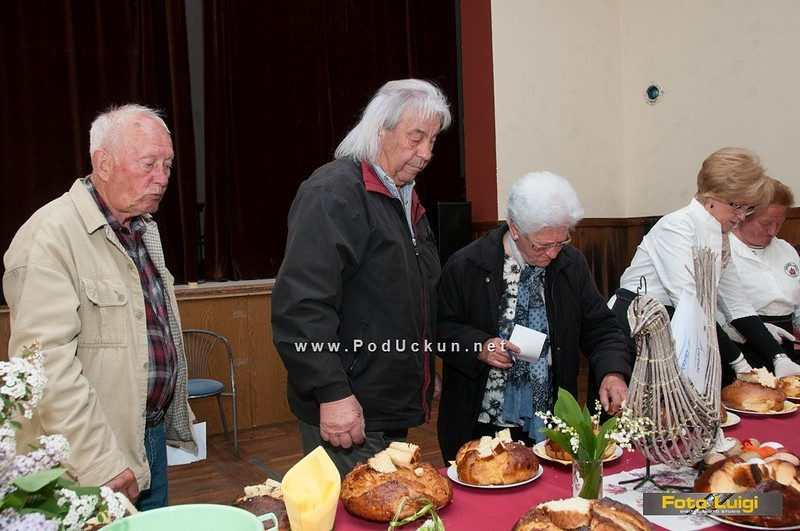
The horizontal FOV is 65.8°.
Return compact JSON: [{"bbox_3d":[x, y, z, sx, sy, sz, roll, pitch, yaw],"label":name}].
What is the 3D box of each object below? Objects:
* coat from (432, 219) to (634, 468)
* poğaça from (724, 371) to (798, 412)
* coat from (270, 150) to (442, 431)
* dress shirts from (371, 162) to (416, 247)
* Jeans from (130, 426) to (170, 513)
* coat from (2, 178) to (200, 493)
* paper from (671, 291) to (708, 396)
[{"bbox_3d":[0.637,0.355,2.921,0.831,1.226,0.783,6,47,17],"label":"coat"},{"bbox_3d":[1.444,0.486,2.520,0.175,0.125,0.187,-4,-10,31],"label":"poğaça"},{"bbox_3d":[-0.129,0.118,2.290,0.707,1.033,0.249,-6,5,-31],"label":"coat"},{"bbox_3d":[-0.005,-0.237,2.405,0.079,0.262,0.242,-13,-11,11],"label":"dress shirts"},{"bbox_3d":[-0.982,0.864,2.417,0.086,0.108,0.401,31,24,-41],"label":"Jeans"},{"bbox_3d":[-1.128,0.265,2.133,0.406,1.142,0.366,-3,4,7],"label":"coat"},{"bbox_3d":[0.888,0.255,1.902,0.037,0.266,0.218,-13,-30,40],"label":"paper"}]
